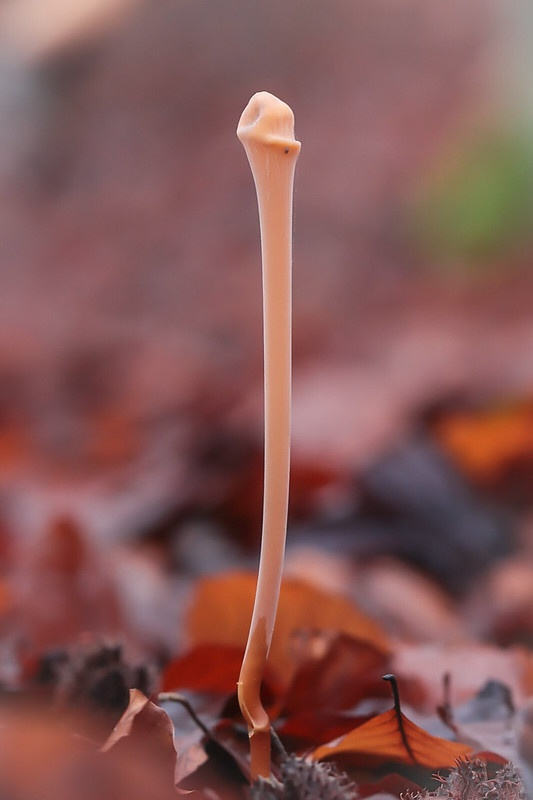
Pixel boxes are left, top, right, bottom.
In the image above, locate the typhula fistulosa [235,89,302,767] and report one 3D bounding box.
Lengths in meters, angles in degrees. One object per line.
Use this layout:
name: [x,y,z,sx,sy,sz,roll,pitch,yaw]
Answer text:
typhula fistulosa: [0.002,0.028,1.004,0.070,0.741,0.250,0,23,3]
